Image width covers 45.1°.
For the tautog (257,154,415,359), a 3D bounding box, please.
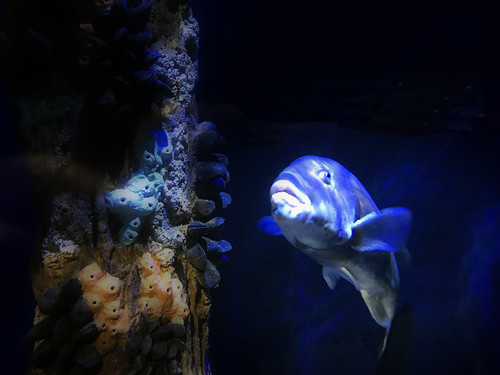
[{"bbox_3d":[0.526,0.390,3.452,0.755,1.010,0.734,-1,-17,8],"label":"tautog"}]
